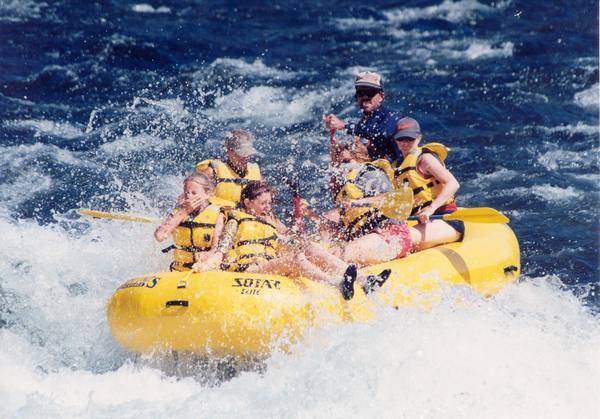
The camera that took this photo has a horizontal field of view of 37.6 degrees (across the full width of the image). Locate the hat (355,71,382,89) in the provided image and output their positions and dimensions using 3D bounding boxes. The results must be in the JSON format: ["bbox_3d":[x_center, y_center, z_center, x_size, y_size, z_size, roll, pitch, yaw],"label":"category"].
[{"bbox_3d":[1.129,-2.067,14.198,0.439,0.145,0.290,6,73,4],"label":"hat"}]

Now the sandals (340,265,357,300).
[{"bbox_3d":[0.725,1.042,12.745,0.191,0.212,0.496,10,95,14],"label":"sandals"}]

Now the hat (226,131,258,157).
[{"bbox_3d":[-0.927,-1.038,14.179,0.356,0.466,0.378,-42,74,-14],"label":"hat"}]

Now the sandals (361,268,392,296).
[{"bbox_3d":[1.159,1.002,12.846,0.596,0.197,0.231,-40,103,-30],"label":"sandals"}]
